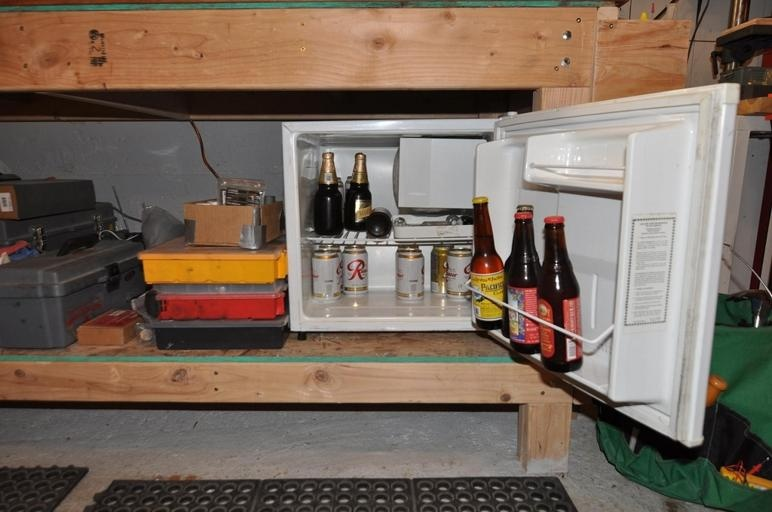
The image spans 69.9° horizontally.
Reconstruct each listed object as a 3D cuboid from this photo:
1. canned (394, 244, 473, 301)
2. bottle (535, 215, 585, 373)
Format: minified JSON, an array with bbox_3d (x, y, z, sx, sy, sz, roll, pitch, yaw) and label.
[{"bbox_3d":[0.202,0.071,2.301,0.290,0.153,0.097,0,16,5],"label":"canned"},{"bbox_3d":[0.542,0.116,1.696,0.143,0.475,0.266,3,14,17],"label":"bottle"}]
